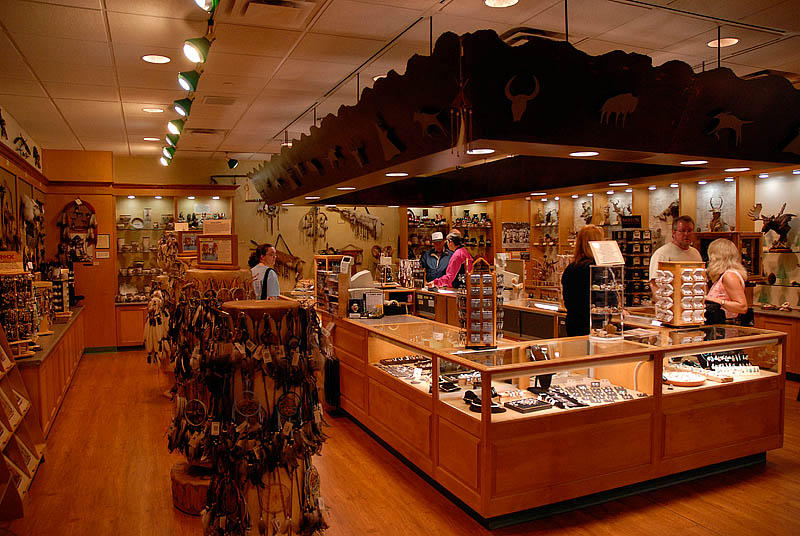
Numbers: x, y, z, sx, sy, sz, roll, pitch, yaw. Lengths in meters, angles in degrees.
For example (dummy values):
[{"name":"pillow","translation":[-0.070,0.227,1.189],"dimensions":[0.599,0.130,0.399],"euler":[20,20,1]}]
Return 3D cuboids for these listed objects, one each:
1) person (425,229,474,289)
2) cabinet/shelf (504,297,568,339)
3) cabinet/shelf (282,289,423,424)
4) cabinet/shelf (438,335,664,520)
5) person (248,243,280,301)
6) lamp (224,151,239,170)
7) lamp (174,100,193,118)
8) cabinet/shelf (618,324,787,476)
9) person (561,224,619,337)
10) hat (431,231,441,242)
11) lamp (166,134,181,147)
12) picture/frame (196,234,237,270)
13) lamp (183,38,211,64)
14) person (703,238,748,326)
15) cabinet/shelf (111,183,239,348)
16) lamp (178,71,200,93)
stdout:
[{"name":"person","translation":[0.929,-0.221,10.507],"dimensions":[0.657,0.873,1.168],"euler":[-2,17,16]},{"name":"cabinet/shelf","translation":[1.993,0.878,9.237],"dimensions":[1.265,0.512,0.409],"euler":[10,5,41]},{"name":"cabinet/shelf","translation":[-0.460,0.986,6.167],"dimensions":[0.779,1.496,1.500],"euler":[-3,7,-25]},{"name":"cabinet/shelf","translation":[1.384,0.937,5.820],"dimensions":[2.606,1.785,1.351],"euler":[-2,1,-23]},{"name":"person","translation":[-1.925,0.044,8.292],"dimensions":[0.355,0.682,1.164],"euler":[-3,10,-15]},{"name":"lamp","translation":[-3.393,-2.138,11.912],"dimensions":[0.361,0.380,0.218],"euler":[0,0,30]},{"name":"lamp","translation":[-2.739,-2.024,7.440],"dimensions":[0.179,0.204,0.422],"euler":[-4,10,-17]},{"name":"cabinet/shelf","translation":[3.139,1.405,6.434],"dimensions":[1.789,1.336,0.965],"euler":[-3,2,-23]},{"name":"person","translation":[2.045,0.167,6.683],"dimensions":[0.452,1.291,0.282],"euler":[4,10,26]},{"name":"hat","translation":[0.717,-0.612,11.560],"dimensions":[0.183,0.096,0.187],"euler":[-6,6,-4]},{"name":"lamp","translation":[-3.532,-1.988,9.154],"dimensions":[0.135,0.192,0.705],"euler":[-5,11,-25]},{"name":"picture/frame","translation":[-2.531,-0.208,8.159],"dimensions":[0.445,0.412,0.131],"euler":[1,-1,-1]},{"name":"lamp","translation":[-2.015,-2.186,5.869],"dimensions":[0.236,0.245,0.215],"euler":[0,10,7]},{"name":"person","translation":[3.957,0.205,7.154],"dimensions":[0.437,1.041,0.705],"euler":[4,11,28]},{"name":"cabinet/shelf","translation":[-4.557,-0.046,11.421],"dimensions":[1.873,3.002,0.762],"euler":[-4,10,-18]},{"name":"lamp","translation":[-2.337,-2.088,6.550],"dimensions":[0.199,0.225,0.283],"euler":[-3,10,-11]}]
